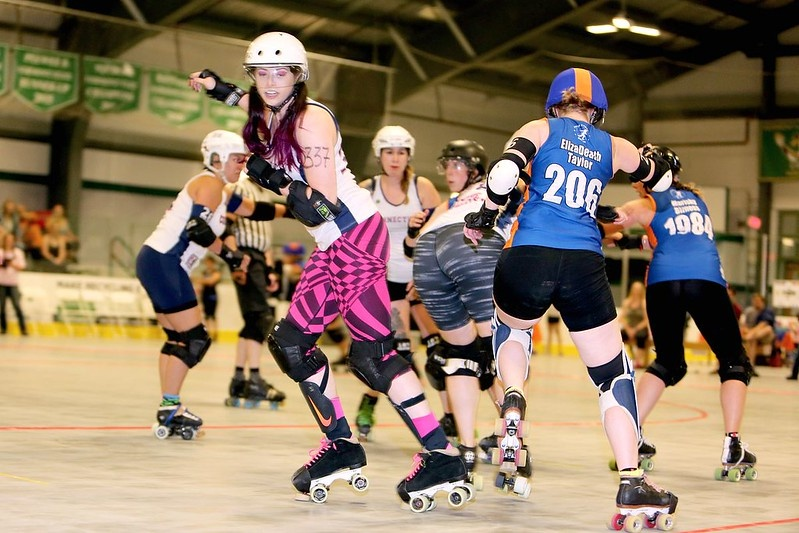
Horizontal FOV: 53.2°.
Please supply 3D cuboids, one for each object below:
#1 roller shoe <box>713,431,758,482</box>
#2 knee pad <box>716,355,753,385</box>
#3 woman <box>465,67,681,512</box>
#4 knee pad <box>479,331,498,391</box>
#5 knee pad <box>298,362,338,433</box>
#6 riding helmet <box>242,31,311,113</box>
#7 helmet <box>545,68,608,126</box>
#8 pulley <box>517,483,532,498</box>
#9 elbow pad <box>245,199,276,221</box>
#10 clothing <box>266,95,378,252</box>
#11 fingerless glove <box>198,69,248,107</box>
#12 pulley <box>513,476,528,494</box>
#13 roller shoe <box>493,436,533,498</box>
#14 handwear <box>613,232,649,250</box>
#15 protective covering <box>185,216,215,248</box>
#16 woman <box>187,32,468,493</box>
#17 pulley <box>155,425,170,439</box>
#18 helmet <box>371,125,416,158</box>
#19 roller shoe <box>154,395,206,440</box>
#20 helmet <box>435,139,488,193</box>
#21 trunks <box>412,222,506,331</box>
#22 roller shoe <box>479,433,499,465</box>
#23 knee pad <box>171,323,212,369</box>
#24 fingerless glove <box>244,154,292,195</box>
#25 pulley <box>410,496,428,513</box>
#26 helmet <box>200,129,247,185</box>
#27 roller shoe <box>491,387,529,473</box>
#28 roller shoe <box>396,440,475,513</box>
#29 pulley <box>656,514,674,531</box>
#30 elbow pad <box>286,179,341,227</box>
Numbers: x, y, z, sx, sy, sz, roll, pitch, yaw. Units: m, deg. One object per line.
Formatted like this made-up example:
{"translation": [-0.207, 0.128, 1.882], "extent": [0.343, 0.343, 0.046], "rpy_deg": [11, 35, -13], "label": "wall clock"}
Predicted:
{"translation": [2.473, 1.408, 5.868], "extent": [0.361, 0.369, 0.227], "rpy_deg": [2, -4, -39], "label": "roller shoe"}
{"translation": [2.598, 0.794, 6.157], "extent": [0.250, 0.166, 0.186], "rpy_deg": [5, -8, -31], "label": "knee pad"}
{"translation": [1.064, 0.100, 5.028], "extent": [1.474, 2.733, 1.324], "rpy_deg": [6, 8, 28], "label": "woman"}
{"translation": [0.620, 0.704, 5.745], "extent": [0.191, 0.348, 0.125], "rpy_deg": [0, 1, 35], "label": "knee pad"}
{"translation": [-0.488, 0.831, 5.073], "extent": [0.196, 0.396, 0.278], "rpy_deg": [-23, 7, 12], "label": "knee pad"}
{"translation": [-0.784, -1.255, 5.039], "extent": [0.390, 0.489, 0.460], "rpy_deg": [-5, 16, -13], "label": "riding helmet"}
{"translation": [1.120, -1.093, 5.032], "extent": [0.319, 0.349, 0.372], "rpy_deg": [4, -2, 9], "label": "helmet"}
{"translation": [0.764, 1.389, 4.933], "extent": [0.090, 0.048, 0.121], "rpy_deg": [1, 2, 11], "label": "pulley"}
{"translation": [-1.267, -0.522, 7.390], "extent": [0.221, 0.087, 0.156], "rpy_deg": [3, -4, -23], "label": "elbow pad"}
{"translation": [-0.504, -0.554, 5.013], "extent": [0.588, 1.105, 0.508], "rpy_deg": [-21, 25, -14], "label": "clothing"}
{"translation": [-1.135, -1.176, 5.208], "extent": [0.325, 0.132, 0.203], "rpy_deg": [29, -19, 13], "label": "fingerless glove"}
{"translation": [0.749, 1.344, 4.923], "extent": [0.091, 0.123, 0.102], "rpy_deg": [14, -17, 15], "label": "pulley"}
{"translation": [0.707, 1.245, 4.919], "extent": [0.245, 0.455, 0.156], "rpy_deg": [3, -9, -3], "label": "roller shoe"}
{"translation": [1.862, -0.204, 6.417], "extent": [0.245, 0.108, 0.178], "rpy_deg": [1, 3, -27], "label": "handwear"}
{"translation": [-1.571, -0.269, 6.328], "extent": [0.228, 0.185, 0.238], "rpy_deg": [44, -8, -14], "label": "protective covering"}
{"translation": [-0.410, -0.012, 5.015], "extent": [1.495, 2.908, 0.484], "rpy_deg": [2, 1, -6], "label": "woman"}
{"translation": [-1.891, 1.314, 6.372], "extent": [0.109, 0.103, 0.079], "rpy_deg": [2, 1, -18], "label": "pulley"}
{"translation": [-0.039, -1.096, 6.922], "extent": [0.249, 0.273, 0.307], "rpy_deg": [0, 9, 1], "label": "helmet"}
{"translation": [-1.763, 1.215, 6.531], "extent": [0.434, 0.366, 0.242], "rpy_deg": [1, 0, 4], "label": "roller shoe"}
{"translation": [0.494, -0.771, 6.362], "extent": [0.412, 0.440, 0.341], "rpy_deg": [6, -11, -22], "label": "helmet"}
{"translation": [0.437, 0.054, 5.537], "extent": [0.656, 0.663, 0.435], "rpy_deg": [-5, 7, 42], "label": "trunks"}
{"translation": [0.678, 1.396, 6.085], "extent": [0.151, 0.193, 0.454], "rpy_deg": [0, -1, 3], "label": "roller shoe"}
{"translation": [-1.715, 0.655, 6.596], "extent": [0.168, 0.454, 0.190], "rpy_deg": [19, 5, 41], "label": "knee pad"}
{"translation": [-0.787, -0.547, 4.896], "extent": [0.320, 0.174, 0.102], "rpy_deg": [37, 4, 2], "label": "fingerless glove"}
{"translation": [0.125, 1.442, 4.859], "extent": [0.102, 0.095, 0.037], "rpy_deg": [-4, 0, 1], "label": "pulley"}
{"translation": [-1.508, -0.975, 7.024], "extent": [0.452, 0.482, 0.402], "rpy_deg": [5, 1, -3], "label": "helmet"}
{"translation": [0.689, 0.990, 4.872], "extent": [0.236, 0.495, 0.173], "rpy_deg": [-2, -5, 8], "label": "roller shoe"}
{"translation": [0.181, 1.308, 4.966], "extent": [0.507, 0.360, 0.290], "rpy_deg": [-13, 0, 5], "label": "roller shoe"}
{"translation": [1.549, 1.485, 4.694], "extent": [0.087, 0.093, 0.102], "rpy_deg": [-10, 0, -24], "label": "pulley"}
{"translation": [-0.507, -0.385, 4.890], "extent": [0.288, 0.238, 0.127], "rpy_deg": [37, 16, -1], "label": "elbow pad"}
